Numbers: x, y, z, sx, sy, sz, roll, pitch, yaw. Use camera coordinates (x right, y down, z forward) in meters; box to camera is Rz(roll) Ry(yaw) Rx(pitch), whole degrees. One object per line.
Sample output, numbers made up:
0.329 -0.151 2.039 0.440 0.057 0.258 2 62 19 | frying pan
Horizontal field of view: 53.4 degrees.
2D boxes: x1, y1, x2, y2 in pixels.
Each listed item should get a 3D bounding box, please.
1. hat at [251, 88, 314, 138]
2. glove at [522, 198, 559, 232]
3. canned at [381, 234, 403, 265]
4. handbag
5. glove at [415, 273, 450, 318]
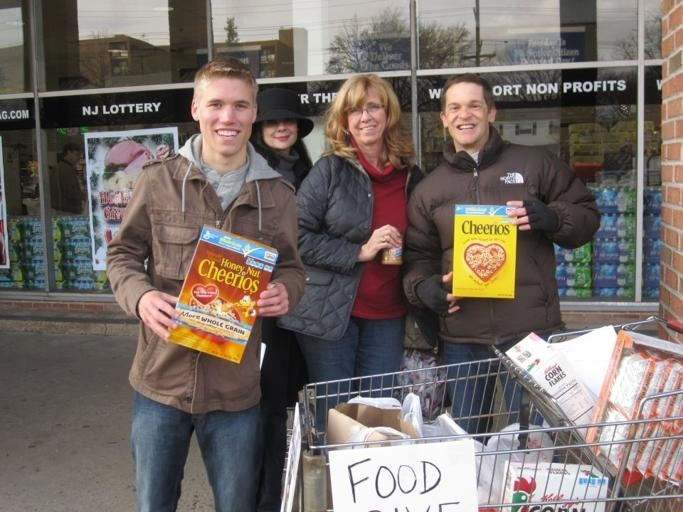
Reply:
-0.408 -1.007 4.577 0.315 0.189 0.366 -2 -8 -1 | hat
1.075 -0.207 3.680 0.226 0.196 0.105 -7 13 -33 | glove
0.312 -0.044 3.985 0.129 0.188 0.123 1 -2 5 | canned
0.502 0.657 4.036 0.393 0.676 0.454 2 6 -1 | handbag
0.520 0.211 3.856 0.234 0.148 0.124 24 20 40 | glove
